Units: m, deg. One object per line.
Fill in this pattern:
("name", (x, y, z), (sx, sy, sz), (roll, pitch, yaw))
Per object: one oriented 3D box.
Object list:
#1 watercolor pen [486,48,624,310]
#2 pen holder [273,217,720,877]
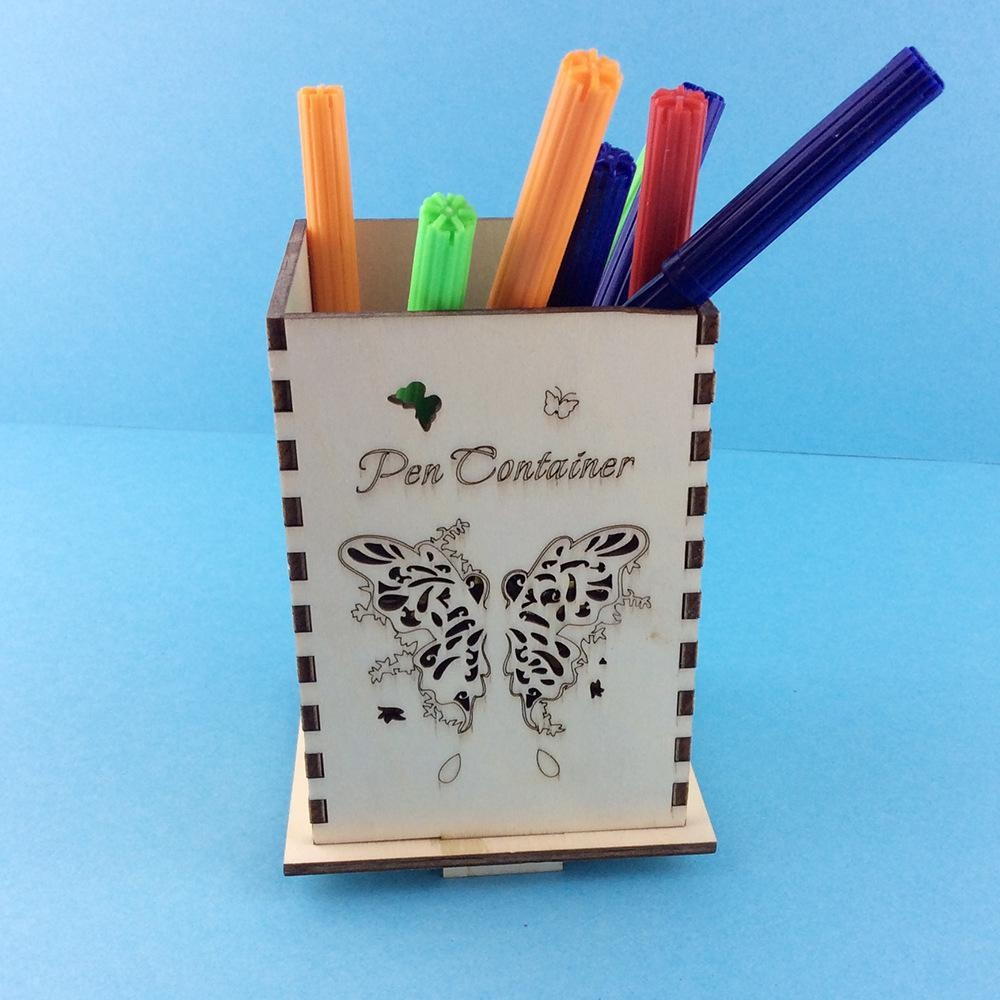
("watercolor pen", (0.033, -0.191, 0.890), (0.040, 0.138, 0.120), (18, -15, 1))
("pen holder", (0.003, -0.012, 1.121), (0.307, 0.500, 0.381), (-1, 29, -3))
